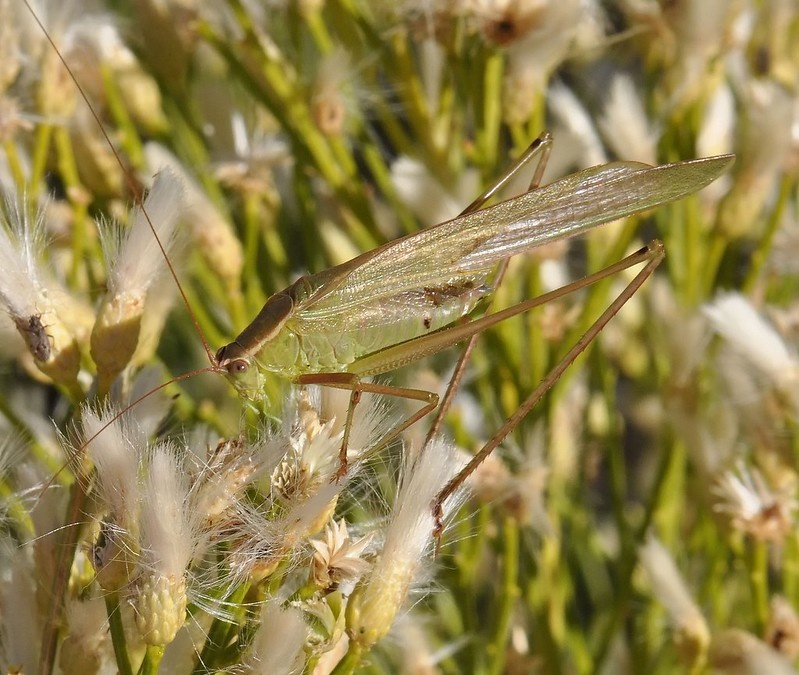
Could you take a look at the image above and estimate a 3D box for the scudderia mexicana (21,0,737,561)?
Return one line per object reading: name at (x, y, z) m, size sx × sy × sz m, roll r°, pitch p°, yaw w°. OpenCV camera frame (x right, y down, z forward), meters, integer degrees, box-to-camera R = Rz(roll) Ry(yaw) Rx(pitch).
scudderia mexicana at (-0.043, -0.054, 1.149) m, size 0.599 × 0.615 × 0.355 m, roll -15°, pitch 27°, yaw -17°
